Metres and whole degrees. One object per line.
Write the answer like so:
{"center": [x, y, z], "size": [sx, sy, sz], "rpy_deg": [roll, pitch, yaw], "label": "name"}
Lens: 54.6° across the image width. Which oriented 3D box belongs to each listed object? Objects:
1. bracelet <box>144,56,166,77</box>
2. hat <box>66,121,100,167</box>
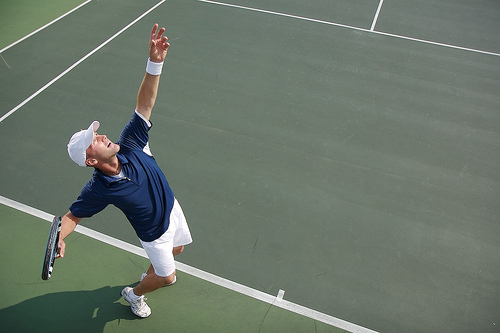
{"center": [-1.282, -1.306, 6.498], "size": [0.216, 0.204, 0.237], "rpy_deg": [13, 26, -29], "label": "bracelet"}
{"center": [-2.292, -0.295, 6.650], "size": [0.298, 0.642, 0.403], "rpy_deg": [24, 40, -14], "label": "hat"}
